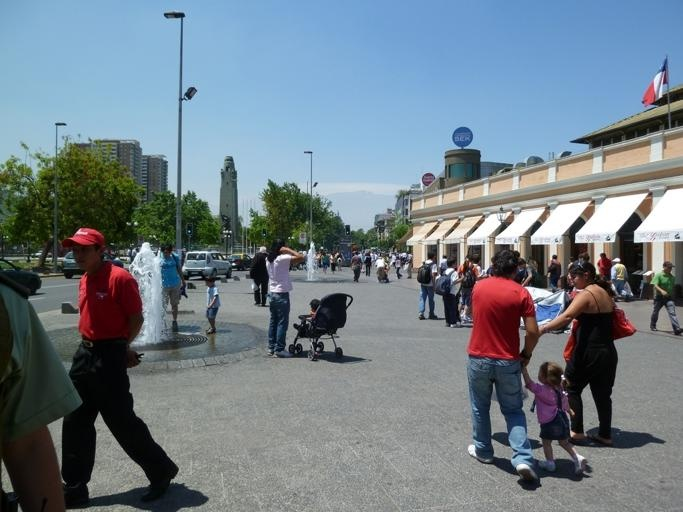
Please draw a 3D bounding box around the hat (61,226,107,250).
[{"bbox_3d":[-2.180,-0.186,4.843,0.175,0.157,0.269,-6,-12,26],"label":"hat"}]

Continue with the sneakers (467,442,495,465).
[{"bbox_3d":[1.355,1.900,5.526,0.102,0.132,0.298,4,8,-19],"label":"sneakers"}]

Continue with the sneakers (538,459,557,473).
[{"bbox_3d":[1.954,1.969,5.380,0.074,0.101,0.153,-5,13,-22],"label":"sneakers"}]

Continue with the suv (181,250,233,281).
[{"bbox_3d":[-7.707,0.585,32.356,1.467,1.465,2.985,-1,3,13],"label":"suv"}]

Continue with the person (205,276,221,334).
[{"bbox_3d":[-2.901,1.058,12.828,0.253,1.267,2.009,0,4,-12],"label":"person"}]

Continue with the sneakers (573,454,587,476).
[{"bbox_3d":[2.240,1.929,5.295,0.074,0.233,0.141,-3,8,-18],"label":"sneakers"}]

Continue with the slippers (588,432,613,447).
[{"bbox_3d":[2.747,1.962,6.038,0.086,0.118,0.241,1,10,-40],"label":"slippers"}]

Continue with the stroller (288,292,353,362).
[{"bbox_3d":[-0.374,1.219,10.503,0.759,1.429,1.333,3,-3,-28],"label":"stroller"}]

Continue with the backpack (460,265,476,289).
[{"bbox_3d":[3.200,0.541,14.326,0.448,0.751,0.357,1,-6,0],"label":"backpack"}]

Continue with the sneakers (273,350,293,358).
[{"bbox_3d":[-1.046,1.741,10.070,0.316,0.165,0.127,1,-2,-12],"label":"sneakers"}]
